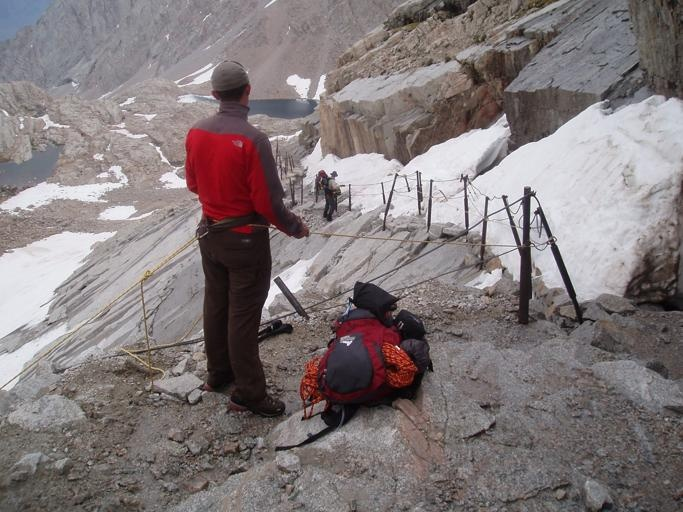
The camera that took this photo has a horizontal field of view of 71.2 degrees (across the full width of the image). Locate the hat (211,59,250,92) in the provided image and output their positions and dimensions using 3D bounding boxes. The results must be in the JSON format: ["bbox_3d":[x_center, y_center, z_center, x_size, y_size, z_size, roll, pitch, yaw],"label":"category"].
[{"bbox_3d":[-0.987,-1.572,4.247,0.268,0.187,0.330,2,42,4],"label":"hat"}]

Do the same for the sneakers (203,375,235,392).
[{"bbox_3d":[-1.210,1.233,4.713,0.336,0.138,0.117,1,24,-19],"label":"sneakers"}]

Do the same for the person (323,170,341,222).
[{"bbox_3d":[-0.310,-1.593,13.183,0.495,1.178,0.654,-15,27,-9],"label":"person"}]

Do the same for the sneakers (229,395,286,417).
[{"bbox_3d":[-0.785,1.420,4.503,0.506,0.222,0.204,1,22,-6],"label":"sneakers"}]
